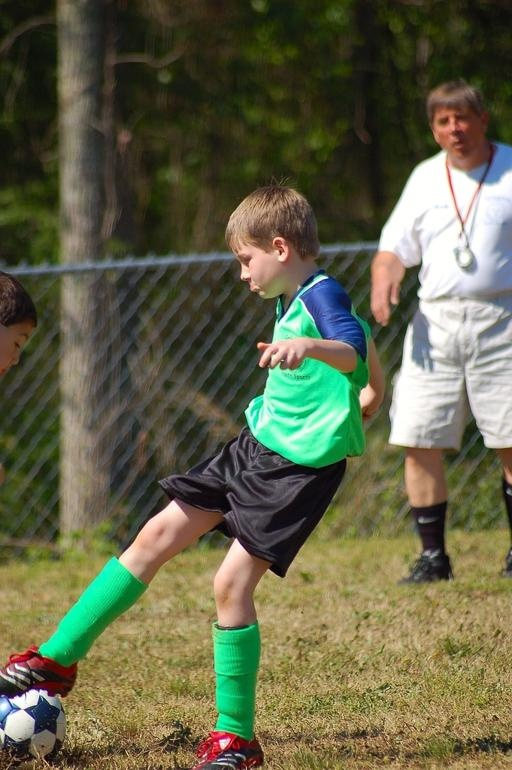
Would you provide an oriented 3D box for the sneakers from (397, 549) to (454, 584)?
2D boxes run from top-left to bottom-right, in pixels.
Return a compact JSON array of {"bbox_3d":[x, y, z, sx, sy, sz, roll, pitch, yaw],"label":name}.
[{"bbox_3d":[0.645,0.696,3.915,0.200,0.118,0.103,0,-11,3],"label":"sneakers"}]
